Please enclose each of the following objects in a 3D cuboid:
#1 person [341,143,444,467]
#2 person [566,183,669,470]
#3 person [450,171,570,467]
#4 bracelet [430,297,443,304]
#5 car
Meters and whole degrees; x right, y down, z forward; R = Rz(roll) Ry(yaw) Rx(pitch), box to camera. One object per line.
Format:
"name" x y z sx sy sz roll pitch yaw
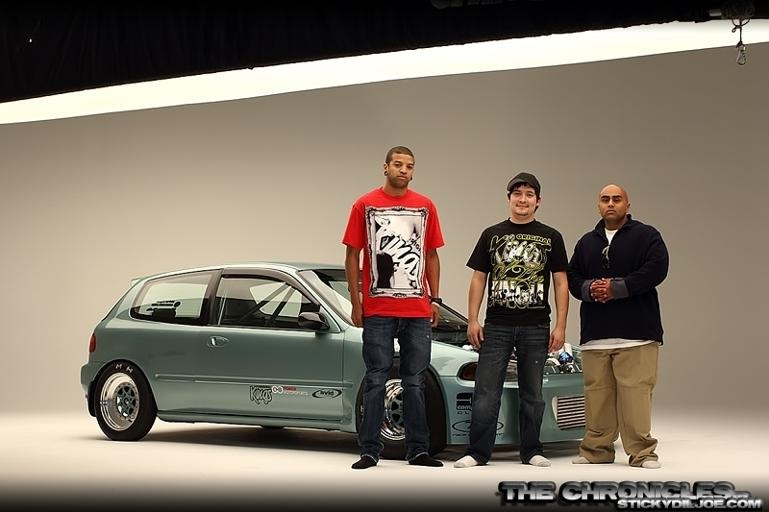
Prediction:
"person" 0.072 0.409 5.252 0.829 2.508 0.454 2 -7 -2
"person" 1.954 0.568 5.590 0.801 2.352 0.450 -1 -7 21
"person" 1.048 0.513 5.426 0.846 2.365 0.378 0 -7 14
"bracelet" 0.412 0.355 5.341 0.081 0.031 0.081 2 -3 31
"car" -0.666 0.991 6.930 4.735 1.589 2.054 -4 -5 24
